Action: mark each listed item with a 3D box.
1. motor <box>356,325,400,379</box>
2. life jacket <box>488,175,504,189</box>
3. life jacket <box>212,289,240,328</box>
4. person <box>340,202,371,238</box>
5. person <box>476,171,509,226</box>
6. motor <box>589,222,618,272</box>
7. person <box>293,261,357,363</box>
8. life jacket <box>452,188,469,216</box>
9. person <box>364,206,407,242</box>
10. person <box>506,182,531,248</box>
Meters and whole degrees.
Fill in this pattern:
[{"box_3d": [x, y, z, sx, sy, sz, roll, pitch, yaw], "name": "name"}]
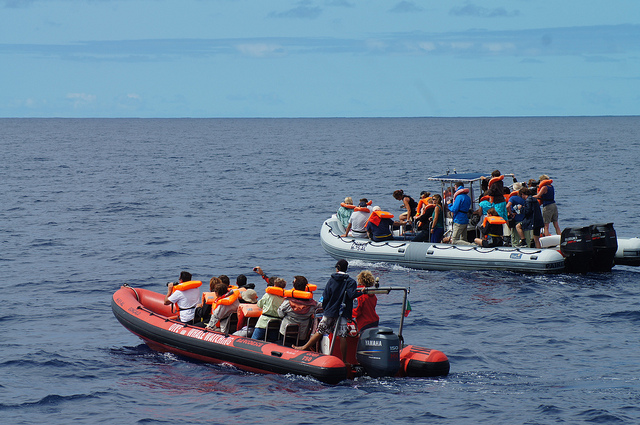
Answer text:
[{"box_3d": [1.591, 3.802, 30.185, 1.493, 1.550, 1.295, 1, -2, 37], "name": "motor"}, {"box_3d": [5.954, -0.991, 37.358, 0.476, 0.428, 0.420, 1, 8, 7], "name": "life jacket"}, {"box_3d": [-2.609, 2.674, 31.465, 0.828, 0.917, 0.395, 11, 2, 21], "name": "life jacket"}, {"box_3d": [1.305, 0.306, 39.767, 1.330, 1.352, 0.812, -1, 32, -7], "name": "person"}, {"box_3d": [5.805, -0.297, 37.629, 1.104, 2.113, 0.924, -13, 14, -35], "name": "person"}, {"box_3d": [9.386, 1.195, 36.765, 1.061, 1.717, 0.496, -1, 9, -8], "name": "motor"}, {"box_3d": [0.377, 2.736, 30.340, 1.285, 2.747, 0.594, 0, 9, 2], "name": "person"}, {"box_3d": [4.800, -0.557, 37.573, 0.490, 0.514, 0.706, 0, 8, 3], "name": "life jacket"}, {"box_3d": [1.950, 0.456, 39.080, 0.909, 1.263, 1.823, -2, -3, -19], "name": "person"}, {"box_3d": [6.653, 0.102, 37.555, 0.894, 2.101, 0.781, 0, 1, 33], "name": "person"}]
